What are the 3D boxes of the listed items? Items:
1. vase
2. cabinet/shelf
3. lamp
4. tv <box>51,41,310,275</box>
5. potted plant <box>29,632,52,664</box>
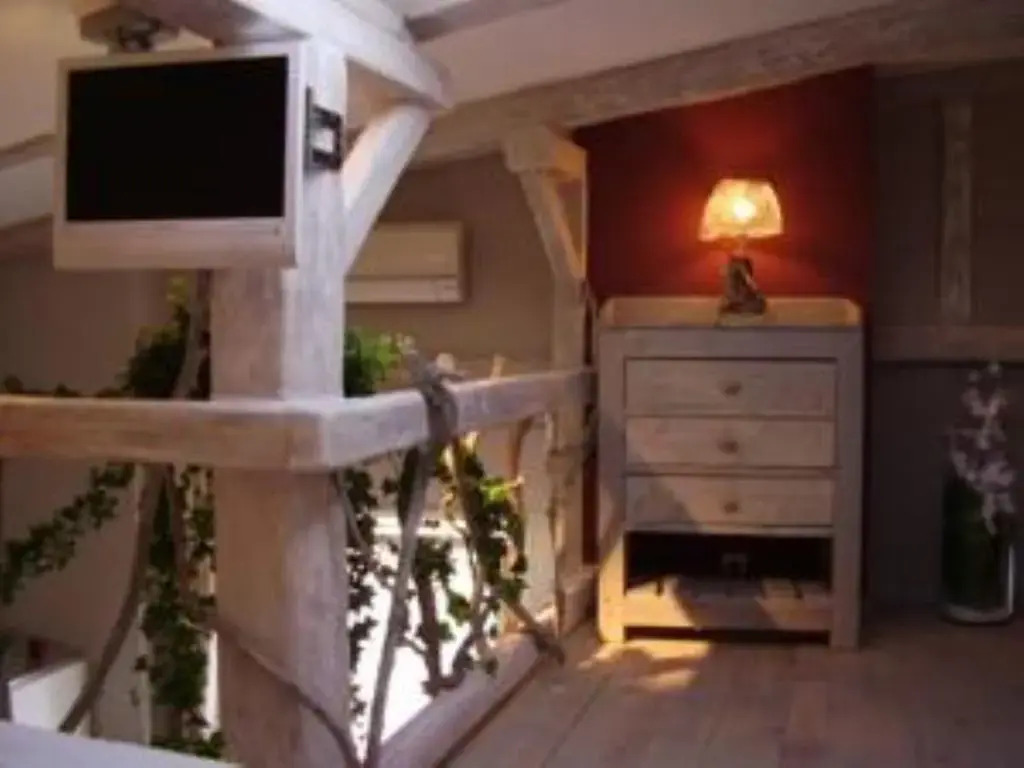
[{"bbox_3d":[2.156,0.778,4.013,0.310,0.653,0.195,6,8,27],"label":"vase"},{"bbox_3d":[0.984,0.340,4.064,1.144,1.545,0.815,-1,10,6],"label":"cabinet/shelf"},{"bbox_3d":[1.109,-0.635,4.155,0.434,0.652,0.447,2,2,31],"label":"lamp"},{"bbox_3d":[-0.822,-0.558,2.167,0.567,0.480,0.059,2,-2,7],"label":"tv"},{"bbox_3d":[-3.148,1.757,5.774,0.143,0.158,0.151,0,2,0],"label":"potted plant"}]
